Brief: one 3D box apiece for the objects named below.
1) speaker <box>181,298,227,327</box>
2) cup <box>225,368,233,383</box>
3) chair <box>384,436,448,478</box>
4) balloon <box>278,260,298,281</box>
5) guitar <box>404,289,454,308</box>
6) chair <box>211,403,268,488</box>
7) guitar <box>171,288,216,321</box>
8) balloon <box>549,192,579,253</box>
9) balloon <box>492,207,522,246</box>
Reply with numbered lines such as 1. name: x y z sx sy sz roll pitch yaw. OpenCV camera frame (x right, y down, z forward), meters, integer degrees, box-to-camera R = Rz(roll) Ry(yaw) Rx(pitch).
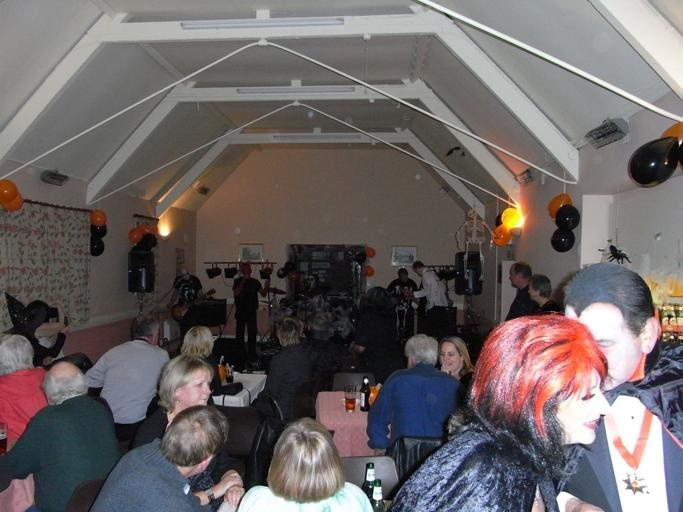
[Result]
1. speaker: -2.439 1.057 10.209 0.632 0.462 0.686 8 -13 -29
2. cup: -1.056 1.131 5.364 0.066 0.105 0.033 2 -6 20
3. chair: 0.474 1.252 3.746 0.306 0.171 0.326 0 -9 -4
4. balloon: -1.103 0.339 11.941 0.414 0.303 0.463 -10 0 7
5. guitar: 1.477 0.711 10.048 0.730 0.430 0.492 4 -3 -4
6. chair: -0.734 1.365 4.096 0.416 0.551 0.424 6 -25 -6
7. guitar: -2.629 0.913 10.115 0.862 0.445 0.151 -38 -9 8
8. balloon: 2.235 -0.333 5.787 0.235 0.582 0.323 3 -8 9
9. balloon: 2.281 -0.433 7.981 0.338 0.582 0.136 4 29 -19
